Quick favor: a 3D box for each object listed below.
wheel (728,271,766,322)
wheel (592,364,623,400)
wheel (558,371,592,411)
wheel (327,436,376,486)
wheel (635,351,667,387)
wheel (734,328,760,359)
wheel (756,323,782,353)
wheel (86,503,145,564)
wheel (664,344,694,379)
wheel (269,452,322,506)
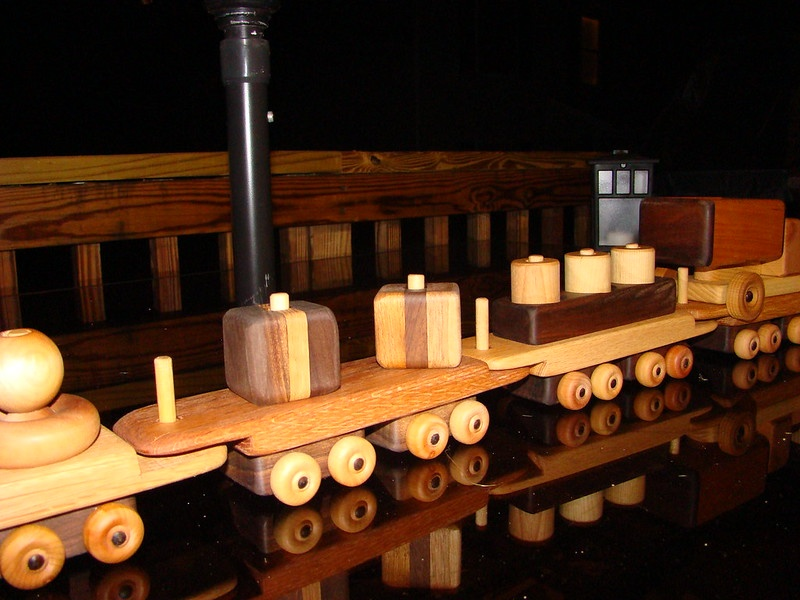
[{"bbox_3d":[0.836,-0.011,1.465,0.037,0.105,0.108,-1,-8,-15],"label":"wheel"},{"bbox_3d":[0.431,0.179,1.298,0.081,0.077,0.042,9,-4,-25],"label":"wheel"},{"bbox_3d":[0.347,0.189,1.243,0.077,0.074,0.040,-10,14,-35],"label":"wheel"},{"bbox_3d":[-0.083,0.265,0.978,0.087,0.084,0.052,3,10,-23],"label":"wheel"},{"bbox_3d":[0.544,0.155,1.353,0.081,0.078,0.036,5,7,-30],"label":"wheel"},{"bbox_3d":[0.854,0.109,1.524,0.069,0.066,0.037,-11,12,-33],"label":"wheel"},{"bbox_3d":[0.923,0.098,1.551,0.075,0.072,0.034,-8,7,-34],"label":"wheel"},{"bbox_3d":[-0.375,0.333,0.838,0.080,0.077,0.044,-12,-16,2],"label":"wheel"},{"bbox_3d":[0.628,0.144,1.402,0.078,0.076,0.038,-10,11,-31],"label":"wheel"},{"bbox_3d":[-0.159,0.284,0.937,0.076,0.072,0.037,12,-9,-29],"label":"wheel"}]
